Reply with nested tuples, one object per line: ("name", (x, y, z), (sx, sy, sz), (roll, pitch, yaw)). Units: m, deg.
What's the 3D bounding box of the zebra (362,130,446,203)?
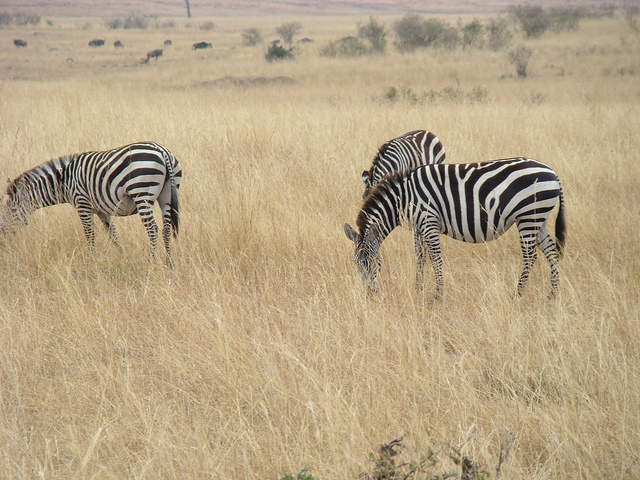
("zebra", (1.685, -1.452, 17.183), (2.047, 1.182, 0.650), (-37, 22, -28))
